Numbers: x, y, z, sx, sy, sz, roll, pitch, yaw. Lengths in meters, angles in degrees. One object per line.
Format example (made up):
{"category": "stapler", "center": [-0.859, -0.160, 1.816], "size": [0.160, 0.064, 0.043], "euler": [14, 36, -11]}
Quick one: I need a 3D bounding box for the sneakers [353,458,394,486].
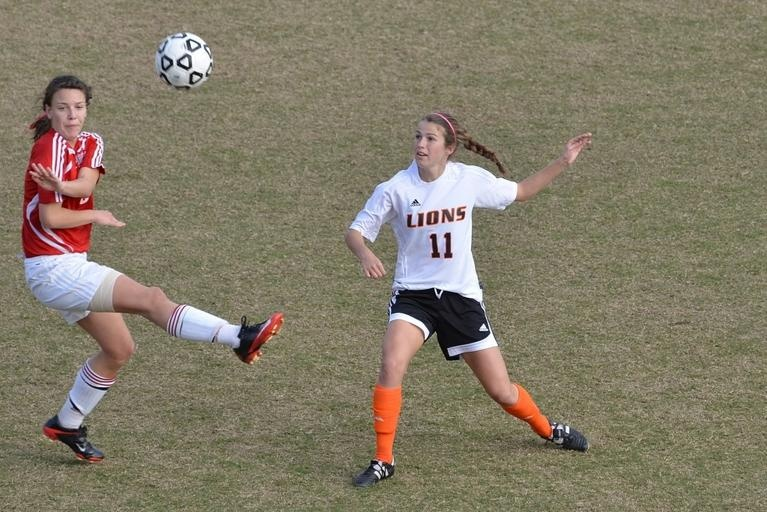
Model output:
{"category": "sneakers", "center": [-0.077, 2.202, 13.743], "size": [0.498, 0.195, 0.184], "euler": [-12, 18, -21]}

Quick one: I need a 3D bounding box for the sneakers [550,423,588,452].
{"category": "sneakers", "center": [1.946, 1.893, 14.100], "size": [0.370, 0.125, 0.274], "euler": [26, 36, -23]}
